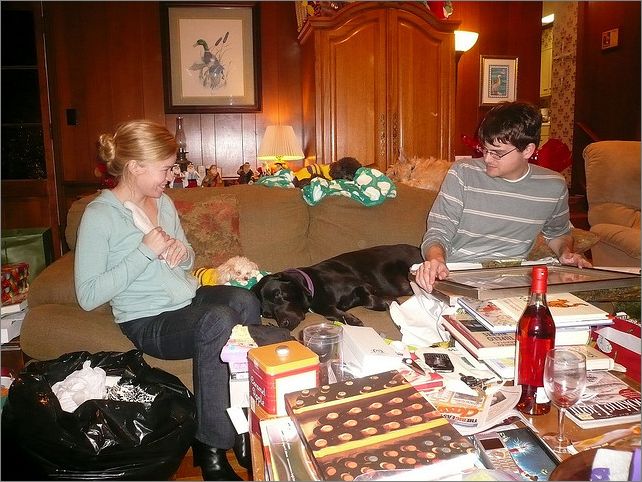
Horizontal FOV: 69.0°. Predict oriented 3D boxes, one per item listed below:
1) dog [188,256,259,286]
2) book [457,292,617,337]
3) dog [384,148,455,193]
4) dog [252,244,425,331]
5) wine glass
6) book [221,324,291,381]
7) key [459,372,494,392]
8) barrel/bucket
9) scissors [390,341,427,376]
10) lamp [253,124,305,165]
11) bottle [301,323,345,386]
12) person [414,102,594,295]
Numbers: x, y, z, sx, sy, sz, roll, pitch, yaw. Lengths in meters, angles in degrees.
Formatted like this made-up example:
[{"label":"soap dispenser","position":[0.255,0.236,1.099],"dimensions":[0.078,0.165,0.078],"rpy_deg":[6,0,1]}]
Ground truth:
[{"label":"dog","position":[-0.476,0.150,2.377],"dimensions":[0.250,0.123,0.152],"rpy_deg":[-1,2,-4]},{"label":"book","position":[0.828,0.228,1.547],"dimensions":[0.252,0.035,0.274],"rpy_deg":[-11,9,8]},{"label":"dog","position":[0.656,-0.479,3.159],"dimensions":[0.398,0.262,0.183],"rpy_deg":[16,-2,41]},{"label":"dog","position":[0.147,0.227,2.513],"dimensions":[0.964,0.273,0.457],"rpy_deg":[-14,15,-38]},{"label":"wine glass","position":[0.693,0.419,1.320],"dimensions":[0.098,0.274,0.185],"rpy_deg":[3,14,30]},{"label":"book","position":[-0.266,0.339,1.606],"dimensions":[0.203,0.062,0.193],"rpy_deg":[2,12,-27]},{"label":"key","position":[0.493,0.444,1.476],"dimensions":[0.057,0.020,0.040],"rpy_deg":[-3,18,-23]},{"label":"barrel/bucket","position":[-0.100,0.405,1.371],"dimensions":[0.187,0.177,0.186],"rpy_deg":[-1,4,0]},{"label":"scissors","position":[0.288,0.388,1.570],"dimensions":[0.040,0.029,0.162],"rpy_deg":[1,16,-13]},{"label":"lamp","position":[-0.384,-0.849,4.336],"dimensions":[0.372,0.383,0.378],"rpy_deg":[-2,-2,-5]},{"label":"bottle","position":[0.028,0.357,1.594],"dimensions":[0.156,0.180,0.159],"rpy_deg":[8,15,38]},{"label":"person","position":[0.892,-0.191,2.313],"dimensions":[0.830,0.922,0.687],"rpy_deg":[-4,39,5]}]
